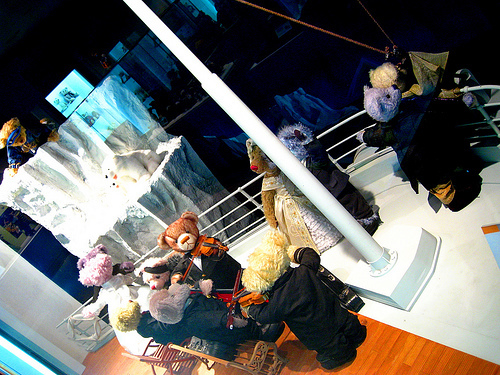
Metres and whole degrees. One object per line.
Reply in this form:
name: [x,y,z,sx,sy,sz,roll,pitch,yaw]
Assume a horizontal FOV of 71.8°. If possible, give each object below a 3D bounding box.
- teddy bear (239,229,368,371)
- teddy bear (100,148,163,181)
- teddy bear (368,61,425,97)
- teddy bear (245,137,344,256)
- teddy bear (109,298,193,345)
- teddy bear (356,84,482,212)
teddy bear: [0.339,0.716,2.092,0.420,0.653,0.454,-46,23,-5]
teddy bear: [-1.281,-0.293,3.788,0.482,0.251,0.368,-23,5,-39]
teddy bear: [1.050,-0.713,2.489,0.273,0.275,0.248,3,-63,-59]
teddy bear: [0.319,0.002,2.856,0.624,1.003,0.600,-19,18,42]
teddy bear: [-0.639,0.818,2.231,0.432,0.183,0.254,0,-8,-19]
teddy bear: [1.239,-0.272,2.464,0.704,0.843,0.358,-34,8,25]
